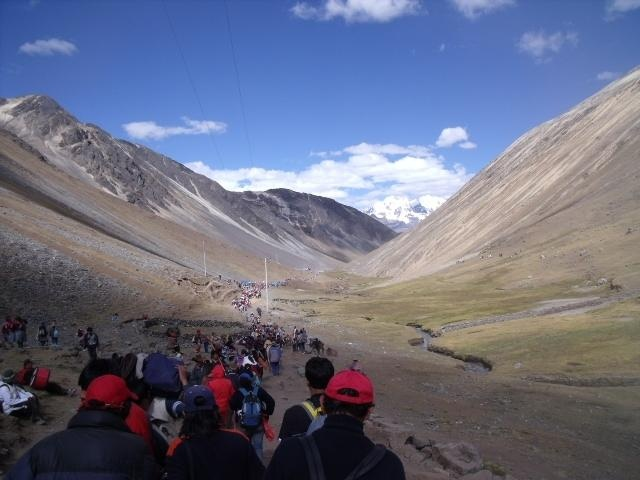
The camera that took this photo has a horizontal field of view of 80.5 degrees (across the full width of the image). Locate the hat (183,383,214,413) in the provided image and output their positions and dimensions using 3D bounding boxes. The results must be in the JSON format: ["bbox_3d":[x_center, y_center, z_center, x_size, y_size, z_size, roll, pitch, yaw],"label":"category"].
[{"bbox_3d":[-1.477,1.916,4.587,0.304,0.178,0.379,0,-1,-18],"label":"hat"}]

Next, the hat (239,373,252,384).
[{"bbox_3d":[-1.419,2.630,7.205,0.186,0.184,0.212,3,1,6],"label":"hat"}]
